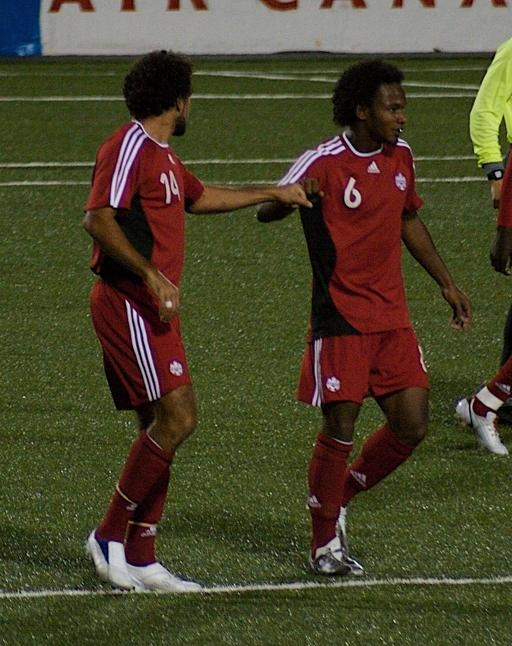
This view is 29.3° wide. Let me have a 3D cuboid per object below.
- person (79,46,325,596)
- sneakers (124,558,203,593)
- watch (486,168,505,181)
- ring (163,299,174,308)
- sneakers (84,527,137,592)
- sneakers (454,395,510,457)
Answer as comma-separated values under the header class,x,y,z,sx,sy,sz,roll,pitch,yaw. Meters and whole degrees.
class,x,y,z,sx,sy,sz,roll,pitch,yaw
person,-0.276,-0.005,3.287,0.604,1.758,0.711,4,15,9
sneakers,-0.309,0.833,3.229,0.269,0.081,0.084,5,0,6
watch,1.132,-0.696,4.640,0.060,0.033,0.070,-11,7,-18
ring,-0.264,-0.055,3.015,0.028,0.026,0.008,-9,18,-37
sneakers,-0.461,0.769,3.240,0.228,0.096,0.093,46,29,26
sneakers,1.055,0.487,4.592,0.336,0.144,0.112,45,27,8
